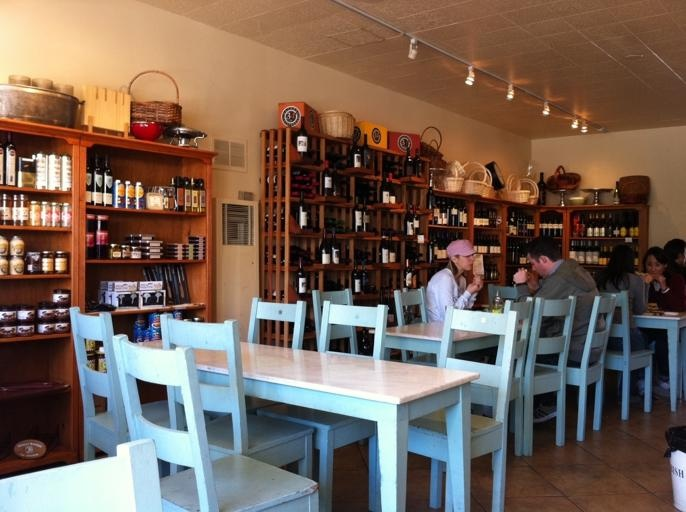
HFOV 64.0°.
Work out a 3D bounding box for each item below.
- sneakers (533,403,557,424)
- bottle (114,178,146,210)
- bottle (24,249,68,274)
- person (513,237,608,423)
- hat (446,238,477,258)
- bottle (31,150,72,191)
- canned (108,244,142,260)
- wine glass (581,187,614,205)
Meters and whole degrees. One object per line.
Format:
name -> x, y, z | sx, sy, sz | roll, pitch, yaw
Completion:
sneakers -> 1.610, 1.244, 4.406 | 0.221, 0.073, 0.132 | -7, 9, -43
bottle -> -1.589, -0.454, 4.078 | 0.152, 0.274, 0.287 | 5, 4, 43
bottle -> -1.982, 0.047, 3.688 | 0.255, 0.227, 0.137 | 2, 1, -5
person -> 1.751, 0.577, 4.685 | 0.736, 1.339, 0.598 | 12, 15, 37
hat -> 1.088, -0.075, 5.140 | 0.214, 0.110, 0.162 | -3, 2, 24
bottle -> -1.942, -0.563, 3.684 | 0.217, 0.243, 0.074 | -1, 6, -33
canned -> -1.607, -0.032, 4.074 | 0.119, 0.075, 0.166 | 3, 2, 40
wine glass -> 3.837, -0.913, 8.281 | 0.308, 0.151, 0.314 | -1, -3, 33
